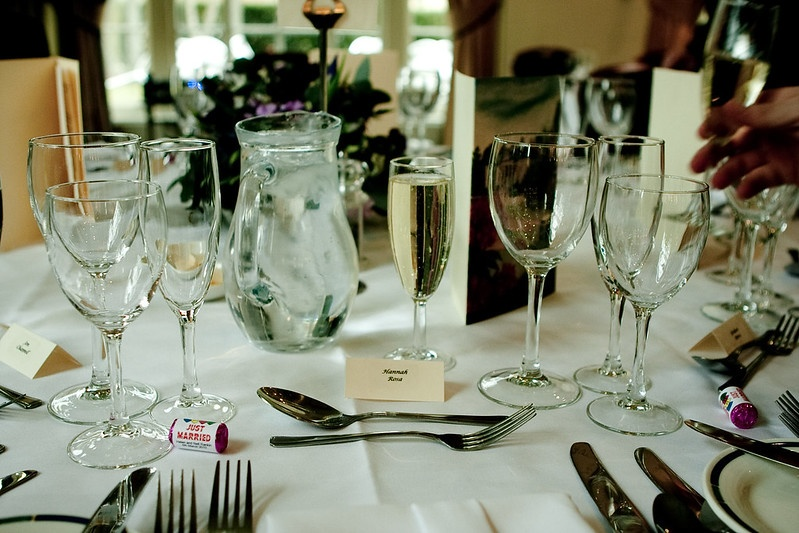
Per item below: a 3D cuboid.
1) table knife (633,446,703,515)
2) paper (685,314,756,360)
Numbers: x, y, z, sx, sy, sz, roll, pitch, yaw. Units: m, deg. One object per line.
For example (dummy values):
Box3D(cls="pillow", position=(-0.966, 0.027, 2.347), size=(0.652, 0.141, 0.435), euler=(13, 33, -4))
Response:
Box3D(cls="table knife", position=(0.366, 0.292, 0.930), size=(0.028, 0.010, 0.123), euler=(-12, 22, -16))
Box3D(cls="paper", position=(0.572, 0.107, 1.210), size=(0.105, 0.039, 0.069), euler=(-27, 30, -34))
